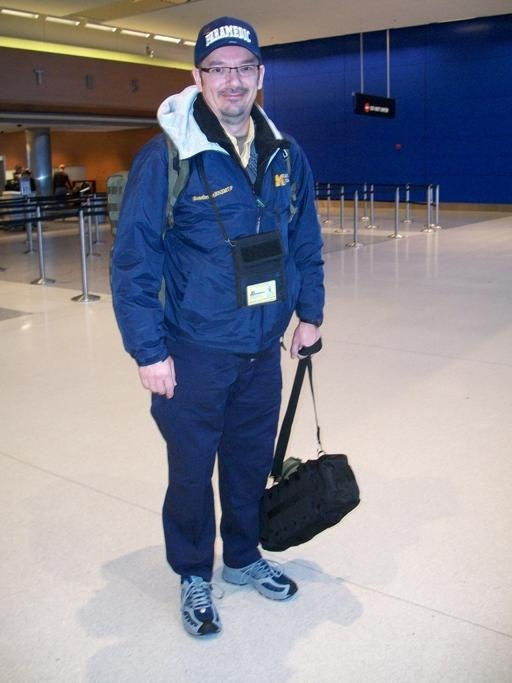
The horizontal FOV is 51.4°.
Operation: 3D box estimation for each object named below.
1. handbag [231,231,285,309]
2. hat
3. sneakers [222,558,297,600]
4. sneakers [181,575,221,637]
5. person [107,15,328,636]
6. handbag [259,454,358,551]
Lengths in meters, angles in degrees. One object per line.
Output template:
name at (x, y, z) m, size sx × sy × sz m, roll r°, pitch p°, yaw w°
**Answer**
handbag at (0.001, -0.167, 1.200) m, size 0.136 × 0.161 × 0.031 m, roll -20°, pitch 22°, yaw -23°
hat at (-0.071, -0.682, 1.246) m, size 0.115 × 0.084 × 0.153 m, roll -4°, pitch 23°, yaw -7°
sneakers at (0.014, 0.657, 1.525) m, size 0.193 × 0.075 × 0.089 m, roll 8°, pitch 10°, yaw 26°
sneakers at (-0.142, 0.685, 1.393) m, size 0.065 × 0.063 × 0.161 m, roll -2°, pitch 10°, yaw -14°
person at (-0.053, -0.003, 1.334) m, size 0.571 × 1.498 × 0.303 m, roll -5°, pitch 11°, yaw -15°
handbag at (0.101, 0.414, 1.361) m, size 0.105 × 0.205 × 0.289 m, roll 19°, pitch -40°, yaw -42°
